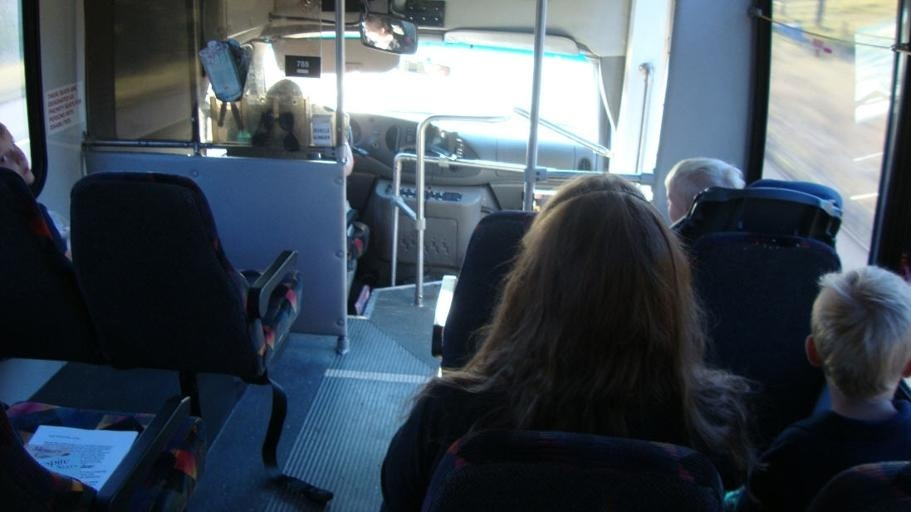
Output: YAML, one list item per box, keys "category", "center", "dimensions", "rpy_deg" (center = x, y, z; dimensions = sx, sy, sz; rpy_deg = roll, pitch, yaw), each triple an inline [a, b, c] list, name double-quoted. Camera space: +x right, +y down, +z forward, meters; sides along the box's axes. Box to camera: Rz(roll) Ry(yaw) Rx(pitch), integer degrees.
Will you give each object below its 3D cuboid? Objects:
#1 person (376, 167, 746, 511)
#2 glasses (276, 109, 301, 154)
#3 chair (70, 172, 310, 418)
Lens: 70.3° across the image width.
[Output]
- category: "person"
  center: [0.406, 0.341, 2.181]
  dimensions: [1.241, 1.117, 0.394]
  rpy_deg: [1, 20, -6]
- category: "glasses"
  center: [-1.028, -0.764, 3.980]
  dimensions: [0.085, 0.232, 0.121]
  rpy_deg: [-12, 25, -35]
- category: "chair"
  center: [-1.333, 0.070, 3.181]
  dimensions: [0.891, 1.290, 1.119]
  rpy_deg: [2, 24, 4]
